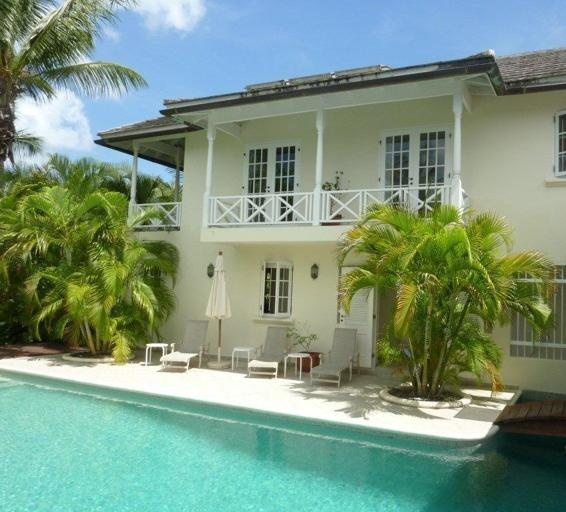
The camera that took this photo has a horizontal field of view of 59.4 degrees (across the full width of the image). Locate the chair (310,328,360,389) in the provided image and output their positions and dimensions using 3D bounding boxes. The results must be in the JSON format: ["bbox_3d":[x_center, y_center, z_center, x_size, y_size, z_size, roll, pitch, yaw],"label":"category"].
[{"bbox_3d":[1.123,2.020,10.323,0.694,0.943,1.442,-1,0,24],"label":"chair"}]

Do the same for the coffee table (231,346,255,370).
[{"bbox_3d":[-1.037,2.506,12.529,0.687,0.708,0.690,0,-13,-2],"label":"coffee table"}]

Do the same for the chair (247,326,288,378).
[{"bbox_3d":[-0.332,2.192,11.229,0.854,1.040,1.668,0,3,0],"label":"chair"}]

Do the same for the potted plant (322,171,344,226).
[{"bbox_3d":[1.189,-1.443,11.643,0.537,1.350,2.005,0,3,5],"label":"potted plant"}]

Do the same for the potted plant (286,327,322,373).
[{"bbox_3d":[0.529,2.217,11.961,0.937,0.996,0.705,2,-1,28],"label":"potted plant"}]

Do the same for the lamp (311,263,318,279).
[{"bbox_3d":[0.774,0.377,12.146,0.228,0.386,0.160,1,3,12],"label":"lamp"}]
